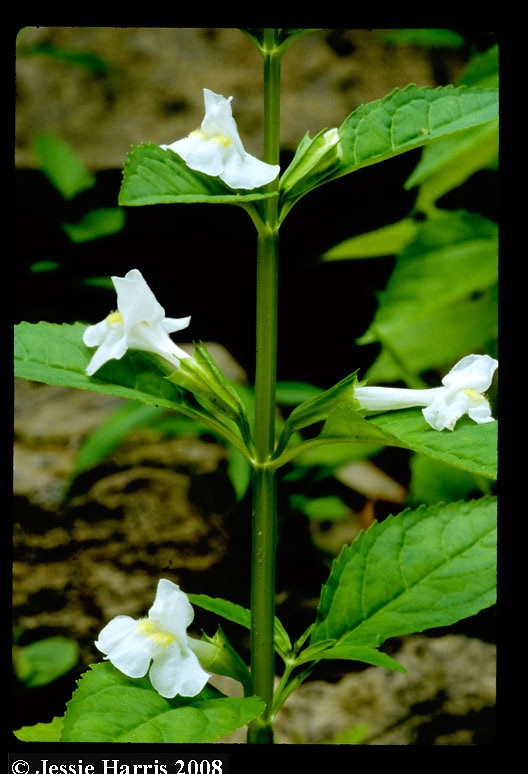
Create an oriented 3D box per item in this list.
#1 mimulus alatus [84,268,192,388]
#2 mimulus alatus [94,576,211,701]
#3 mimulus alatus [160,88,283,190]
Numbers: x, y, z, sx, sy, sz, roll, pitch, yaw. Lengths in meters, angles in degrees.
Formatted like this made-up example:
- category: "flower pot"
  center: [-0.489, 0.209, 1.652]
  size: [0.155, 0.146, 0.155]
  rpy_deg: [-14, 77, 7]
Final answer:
- category: "mimulus alatus"
  center: [-0.251, -0.125, 1.527]
  size: [0.131, 0.144, 0.188]
  rpy_deg: [-4, 9, -21]
- category: "mimulus alatus"
  center: [-0.193, 0.430, 1.451]
  size: [0.201, 0.183, 0.087]
  rpy_deg: [0, 6, 21]
- category: "mimulus alatus"
  center: [-0.069, -0.410, 1.402]
  size: [0.262, 0.142, 0.135]
  rpy_deg: [1, 9, 4]
